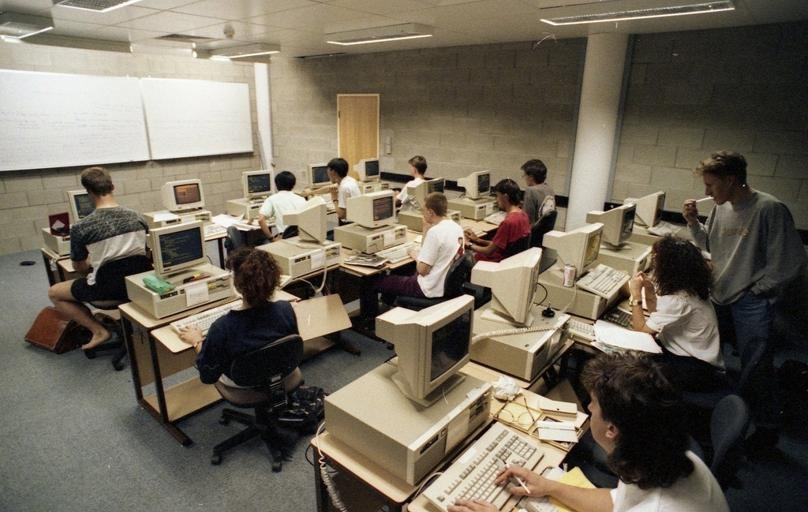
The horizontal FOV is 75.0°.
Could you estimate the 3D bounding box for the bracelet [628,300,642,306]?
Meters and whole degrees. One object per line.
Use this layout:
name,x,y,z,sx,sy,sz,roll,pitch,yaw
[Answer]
bracelet,2.069,0.413,4.695,0.078,0.067,0.074,0,-12,8

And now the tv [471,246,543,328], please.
tv,0.983,0.251,4.771,0.660,0.570,0.603,17,18,36

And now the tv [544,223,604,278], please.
tv,1.648,-0.128,5.187,0.550,0.469,0.514,13,27,24

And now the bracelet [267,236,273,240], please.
bracelet,-1.737,-0.236,6.822,0.053,0.020,0.038,1,18,9

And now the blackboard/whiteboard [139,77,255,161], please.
blackboard/whiteboard,-3.652,-2.371,9.060,1.665,1.103,0.195,-14,22,-41

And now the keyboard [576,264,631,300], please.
keyboard,1.949,0.231,5.059,0.330,0.073,0.585,26,36,32

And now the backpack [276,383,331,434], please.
backpack,-0.973,1.326,5.061,0.115,0.424,0.404,-15,-2,18

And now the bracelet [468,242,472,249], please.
bracelet,0.815,-0.138,6.500,0.052,0.074,0.083,6,5,7

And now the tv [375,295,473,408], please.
tv,0.131,0.655,4.136,0.603,0.655,0.746,13,21,35

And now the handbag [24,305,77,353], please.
handbag,-3.879,0.784,5.840,0.609,0.409,0.302,8,-5,25

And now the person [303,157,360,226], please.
person,-0.987,-0.810,7.452,0.988,1.124,0.711,1,25,4

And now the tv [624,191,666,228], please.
tv,2.794,-0.565,6.177,0.483,0.328,0.460,8,16,25

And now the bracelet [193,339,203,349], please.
bracelet,-1.777,0.729,4.538,0.075,0.037,0.100,-19,37,-38

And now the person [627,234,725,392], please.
person,2.296,0.499,4.390,0.583,1.341,0.783,-33,36,-18

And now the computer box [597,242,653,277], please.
computer box,2.269,-0.090,5.433,0.357,0.257,0.497,17,26,38
